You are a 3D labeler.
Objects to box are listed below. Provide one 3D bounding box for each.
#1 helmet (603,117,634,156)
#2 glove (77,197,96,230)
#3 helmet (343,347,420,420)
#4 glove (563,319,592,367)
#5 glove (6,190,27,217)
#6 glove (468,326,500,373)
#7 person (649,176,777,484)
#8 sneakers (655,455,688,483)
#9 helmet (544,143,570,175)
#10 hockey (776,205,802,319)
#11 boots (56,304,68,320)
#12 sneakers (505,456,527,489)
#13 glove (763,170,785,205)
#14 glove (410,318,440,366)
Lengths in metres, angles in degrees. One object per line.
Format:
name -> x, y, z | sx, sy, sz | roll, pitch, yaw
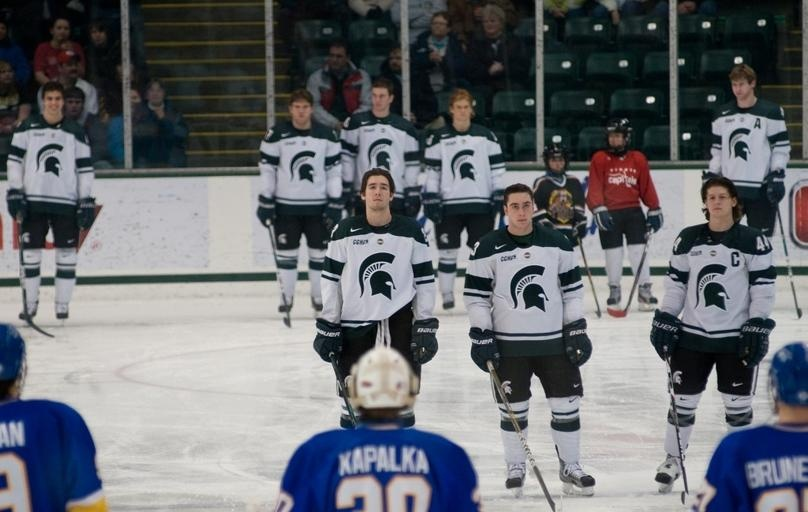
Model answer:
helmet -> 2.595, -1.414, 20.237 | 0.346, 0.462, 0.422 | -1, -1, 11
glove -> -3.718, -0.486, 20.152 | 0.220, 0.339, 0.125 | 3, -4, 8
helmet -> -0.156, 1.048, 13.902 | 0.543, 0.577, 0.163 | 0, 3, 0
glove -> 1.659, 0.831, 16.146 | 0.318, 0.402, 0.170 | -7, 7, -11
glove -> -4.502, -0.611, 19.929 | 0.227, 0.313, 0.166 | -4, 8, -2
glove -> 0.777, 0.898, 16.144 | 0.273, 0.404, 0.149 | 0, -9, -9
person -> 2.950, 0.706, 16.515 | 1.135, 2.820, 1.247 | 0, 3, 6
sneakers -> 2.520, 2.020, 16.060 | 0.242, 0.256, 0.197 | 0, 3, 8
helmet -> 1.836, -1.150, 20.368 | 0.281, 0.359, 0.307 | 0, 3, 11
hockey -> 4.579, 0.141, 20.135 | 0.294, 1.789, 0.260 | 0, 2, 9
boots -> -4.028, 0.659, 20.193 | 0.150, 0.196, 0.330 | -1, 3, -13
sneakers -> 1.075, 2.072, 16.103 | 0.195, 0.255, 0.265 | 0, 3, 3
glove -> 4.314, -0.814, 19.795 | 0.127, 0.354, 0.264 | 2, -1, 4
glove -> 0.214, 0.815, 16.317 | 0.301, 0.403, 0.171 | 5, -6, -16
